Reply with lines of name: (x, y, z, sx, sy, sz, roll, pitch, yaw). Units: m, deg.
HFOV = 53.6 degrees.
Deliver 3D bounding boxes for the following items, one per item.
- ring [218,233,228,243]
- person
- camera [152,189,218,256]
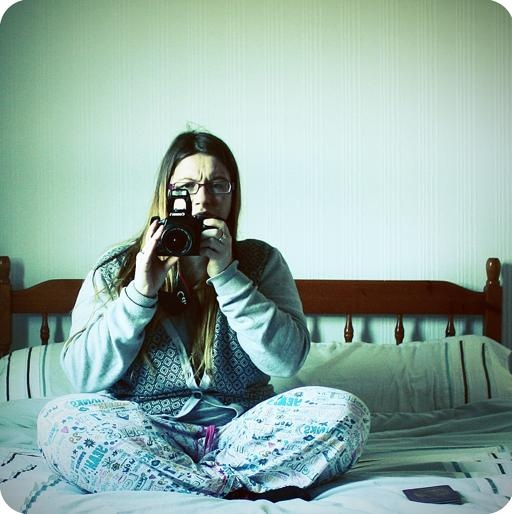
ring: (-0.067, -0.040, 1.064, 0.013, 0.018, 0.006, -10, 37, -36)
person: (-0.130, 0.106, 1.109, 0.590, 0.758, 0.509, 4, -18, -16)
camera: (-0.170, -0.069, 1.055, 0.141, 0.142, 0.105, 3, 5, -5)
